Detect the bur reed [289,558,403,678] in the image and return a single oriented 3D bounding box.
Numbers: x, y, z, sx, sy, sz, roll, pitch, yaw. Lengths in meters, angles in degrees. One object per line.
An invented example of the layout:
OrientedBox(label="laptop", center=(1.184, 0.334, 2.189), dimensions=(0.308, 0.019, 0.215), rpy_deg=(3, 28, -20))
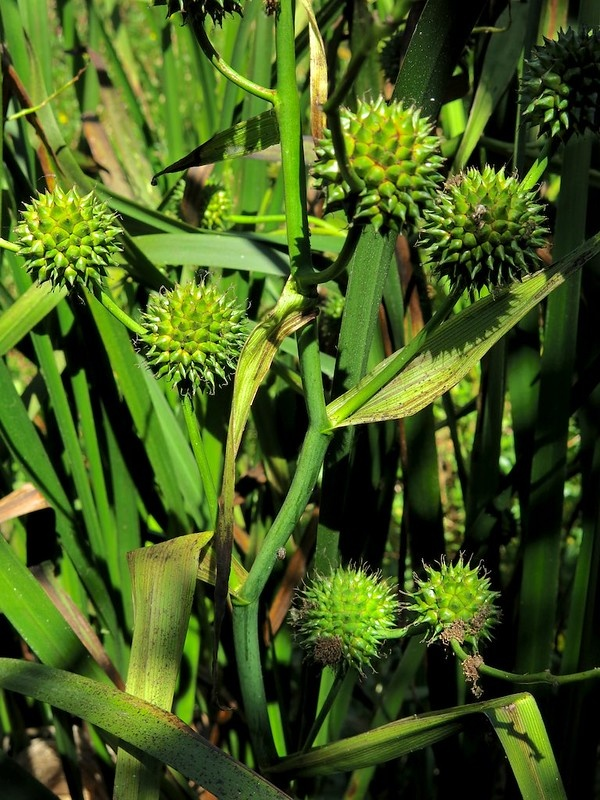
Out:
OrientedBox(label="bur reed", center=(0.049, 0.242, 0.978), dimensions=(0.093, 0.118, 0.100), rpy_deg=(7, 6, 24))

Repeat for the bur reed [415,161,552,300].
OrientedBox(label="bur reed", center=(0.175, -0.169, 0.842), dimensions=(0.112, 0.106, 0.107), rpy_deg=(8, -24, -40))

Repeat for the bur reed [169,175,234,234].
OrientedBox(label="bur reed", center=(-0.178, -0.351, 1.519), dimensions=(0.109, 0.112, 0.143), rpy_deg=(-7, 21, -7))

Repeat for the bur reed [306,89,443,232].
OrientedBox(label="bur reed", center=(0.069, -0.206, 0.767), dimensions=(0.118, 0.121, 0.123), rpy_deg=(-4, 21, 1))

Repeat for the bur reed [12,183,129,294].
OrientedBox(label="bur reed", center=(-0.255, -0.177, 0.928), dimensions=(0.104, 0.104, 0.108), rpy_deg=(3, 10, -4))

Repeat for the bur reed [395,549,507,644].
OrientedBox(label="bur reed", center=(0.172, 0.212, 0.954), dimensions=(0.076, 0.062, 0.073), rpy_deg=(10, 2, -31))
